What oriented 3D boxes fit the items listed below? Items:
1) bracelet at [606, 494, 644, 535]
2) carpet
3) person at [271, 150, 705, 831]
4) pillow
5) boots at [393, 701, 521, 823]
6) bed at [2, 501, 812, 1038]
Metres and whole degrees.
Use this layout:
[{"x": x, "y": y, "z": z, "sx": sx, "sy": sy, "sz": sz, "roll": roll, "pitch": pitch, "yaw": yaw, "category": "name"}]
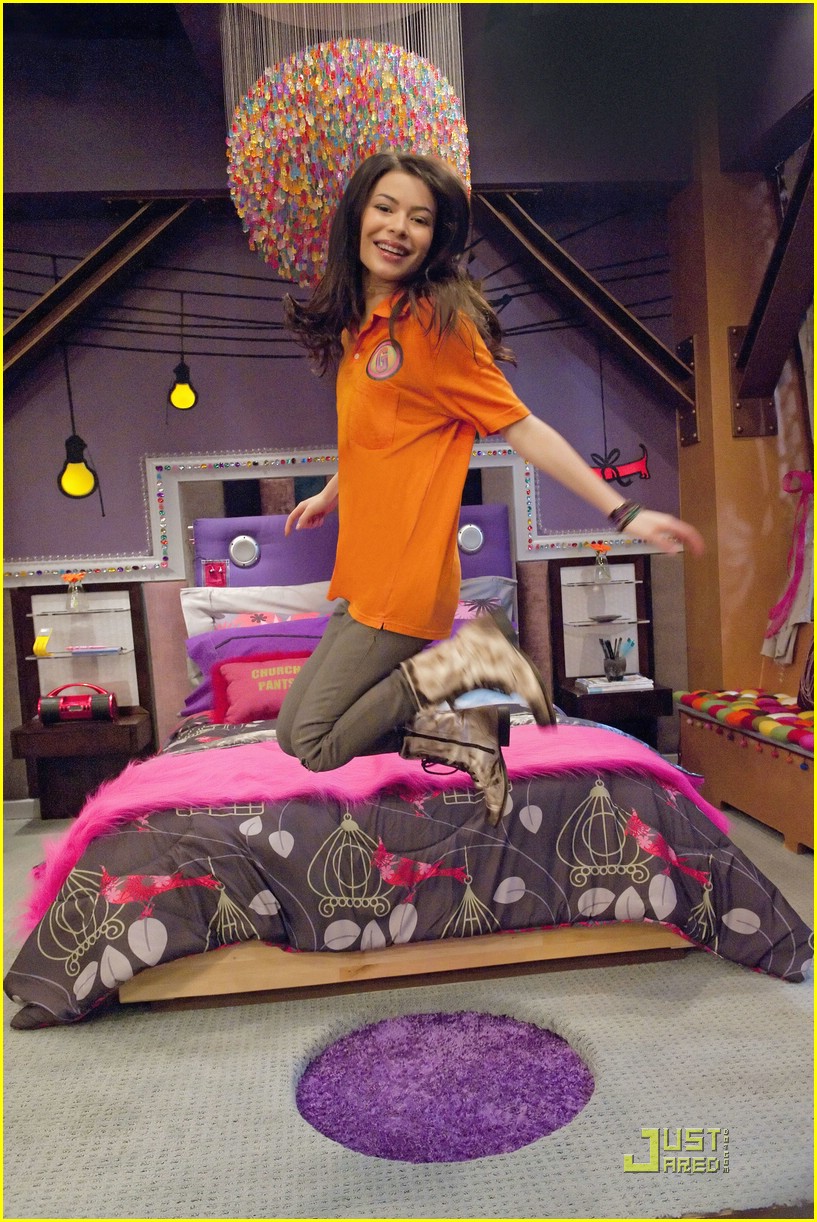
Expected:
[{"x": 0.373, "y": -0.167, "z": 1.479, "sx": 0.056, "sy": 0.049, "sz": 0.056, "roll": -36, "pitch": 10, "yaw": 4, "category": "bracelet"}, {"x": 0.071, "y": 0.957, "z": 1.717, "sx": 0.602, "sy": 0.025, "sz": 0.536, "roll": -3, "pitch": 1, "yaw": 4, "category": "carpet"}, {"x": 0.061, "y": -0.201, "z": 1.703, "sx": 0.715, "sy": 1.346, "sz": 0.367, "roll": -2, "pitch": 2, "yaw": 15, "category": "person"}, {"x": -0.189, "y": 0.162, "z": 2.324, "sx": 0.496, "sy": 0.202, "sz": 0.664, "roll": -1, "pitch": 2, "yaw": -13, "category": "pillow"}, {"x": 0.115, "y": 0.292, "z": 1.850, "sx": 0.164, "sy": 0.399, "sz": 0.130, "roll": -15, "pitch": 9, "yaw": -33, "category": "boots"}, {"x": -0.070, "y": 0.372, "z": 2.102, "sx": 1.143, "sy": 0.327, "sz": 1.113, "roll": -3, "pitch": 12, "yaw": -6, "category": "bed"}]
